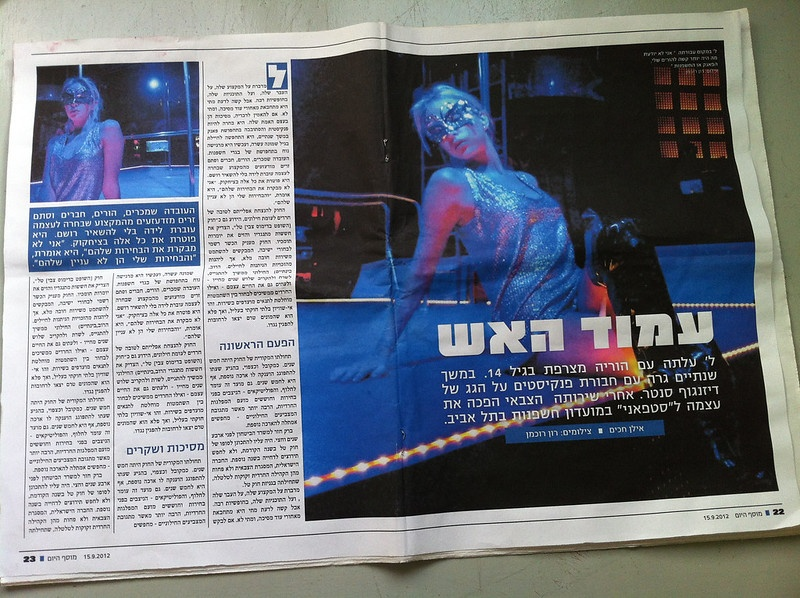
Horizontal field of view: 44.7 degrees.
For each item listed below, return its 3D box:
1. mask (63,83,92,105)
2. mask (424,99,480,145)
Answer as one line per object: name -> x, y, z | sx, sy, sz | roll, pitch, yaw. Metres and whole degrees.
mask -> -0.613, -0.391, 1.859 | 0.060, 0.041, 0.036 | -2, -1, -3
mask -> 0.103, -0.344, 1.868 | 0.103, 0.073, 0.083 | -23, -2, 7
